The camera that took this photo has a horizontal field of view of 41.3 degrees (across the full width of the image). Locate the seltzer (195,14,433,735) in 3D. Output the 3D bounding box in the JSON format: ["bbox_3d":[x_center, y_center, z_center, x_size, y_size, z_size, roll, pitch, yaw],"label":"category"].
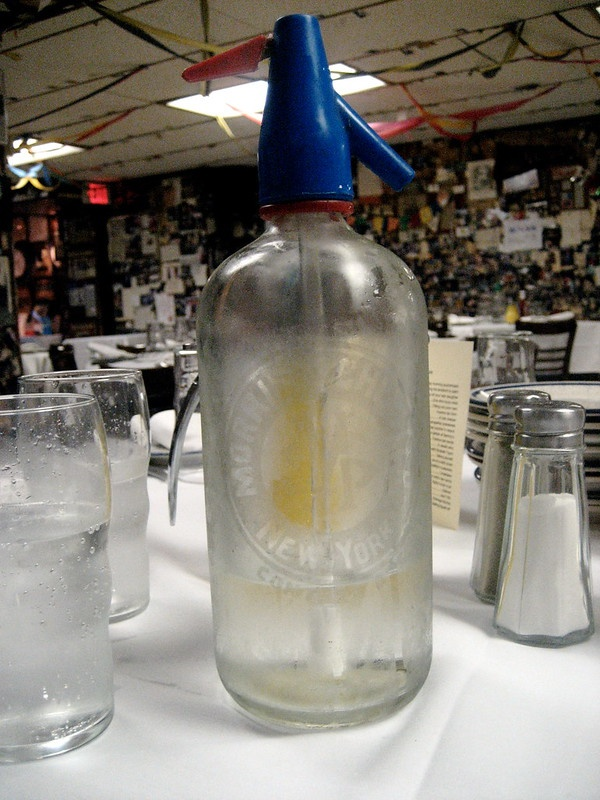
[{"bbox_3d":[0.009,-0.016,0.445,0.135,0.374,0.136,-4,8,0],"label":"seltzer"}]

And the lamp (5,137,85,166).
[{"bbox_3d":[-1.972,-1.851,5.935,0.381,0.106,0.437,-11,-2,32],"label":"lamp"}]
